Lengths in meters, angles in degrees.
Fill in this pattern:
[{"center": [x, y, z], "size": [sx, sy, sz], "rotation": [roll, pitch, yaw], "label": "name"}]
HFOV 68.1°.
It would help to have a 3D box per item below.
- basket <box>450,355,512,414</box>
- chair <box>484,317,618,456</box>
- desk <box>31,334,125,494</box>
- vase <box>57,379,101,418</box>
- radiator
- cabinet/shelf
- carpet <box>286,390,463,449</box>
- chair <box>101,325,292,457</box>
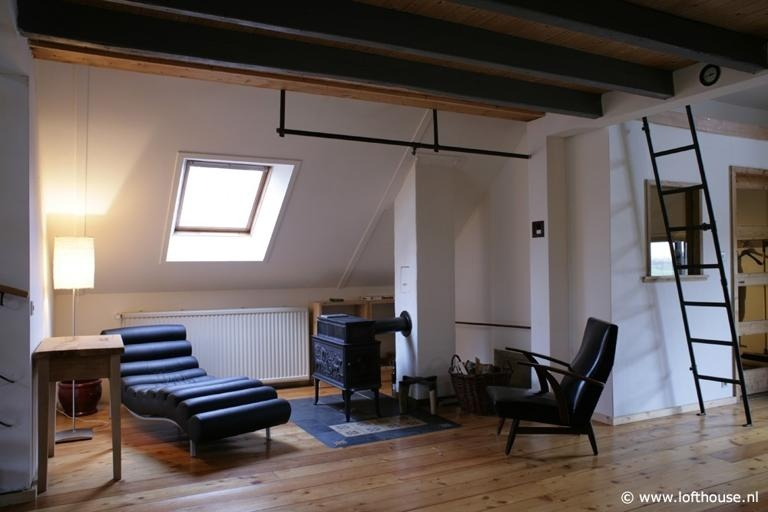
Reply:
[{"center": [1.115, 1.489, 6.657], "size": [0.524, 0.642, 0.591], "rotation": [7, -12, -44], "label": "basket"}, {"center": [1.668, 1.242, 5.654], "size": [1.132, 1.182, 1.047], "rotation": [0, -1, 2], "label": "chair"}, {"center": [-2.724, 1.332, 5.149], "size": [0.709, 1.167, 0.885], "rotation": [-4, 7, -25], "label": "desk"}, {"center": [-3.479, 1.626, 6.508], "size": [0.494, 0.357, 0.461], "rotation": [-5, -6, -14], "label": "vase"}, {"center": [-1.911, 1.210, 7.615], "size": [2.094, 0.985, 0.141], "rotation": [-5, -14, 14], "label": "radiator"}, {"center": [-0.302, 1.164, 8.101], "size": [1.407, 1.157, 0.666], "rotation": [-5, 8, -36], "label": "cabinet/shelf"}, {"center": [-0.243, 1.800, 6.426], "size": [1.545, 0.085, 1.646], "rotation": [-4, 7, -28], "label": "carpet"}, {"center": [-2.043, 1.273, 6.029], "size": [1.079, 0.960, 2.053], "rotation": [3, -2, -44], "label": "chair"}]
